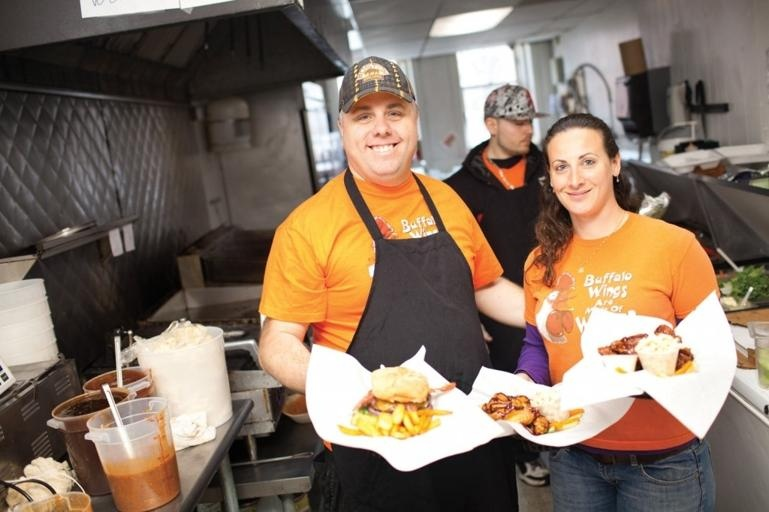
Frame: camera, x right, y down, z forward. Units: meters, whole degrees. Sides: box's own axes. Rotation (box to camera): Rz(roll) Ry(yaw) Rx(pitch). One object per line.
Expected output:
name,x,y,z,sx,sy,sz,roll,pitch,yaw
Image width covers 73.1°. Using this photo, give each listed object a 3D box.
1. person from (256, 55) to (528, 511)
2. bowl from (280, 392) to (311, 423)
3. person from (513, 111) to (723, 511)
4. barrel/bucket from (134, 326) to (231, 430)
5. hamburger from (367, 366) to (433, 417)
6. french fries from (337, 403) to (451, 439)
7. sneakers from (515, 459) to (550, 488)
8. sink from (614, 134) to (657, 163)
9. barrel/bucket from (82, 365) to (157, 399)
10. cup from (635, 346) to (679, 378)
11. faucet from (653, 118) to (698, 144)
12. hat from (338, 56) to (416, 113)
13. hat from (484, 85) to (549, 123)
person,0.048,0.172,1.874,1.029,1.754,0.376,-11,8,-20
bowl,-0.433,0.738,2.507,0.153,0.064,0.156,0,1,0
person,0.808,0.212,1.849,0.675,1.466,0.507,-5,8,29
barrel/bucket,-0.744,0.416,2.037,0.364,0.388,0.334,-7,9,1
hamburger,0.048,0.415,1.601,0.212,0.105,0.226,1,10,7
french fries,0.024,0.482,1.524,0.337,0.088,0.094,-8,7,2
sneakers,0.899,1.321,3.139,0.194,0.076,0.224,6,10,38
sink,2.472,-1.043,5.046,0.448,0.407,0.109,5,11,45
barrel/bucket,-0.909,0.415,1.777,0.119,0.111,0.159,-3,-5,14
cup,0.840,0.317,1.580,0.093,0.068,0.095,-3,1,0
faucet,2.203,-0.928,3.840,0.162,0.159,0.134,1,4,43
hat,-0.038,-0.620,1.836,0.261,0.184,0.340,-10,13,-12
hat,0.832,-0.963,3.262,0.391,0.229,0.300,5,15,22
